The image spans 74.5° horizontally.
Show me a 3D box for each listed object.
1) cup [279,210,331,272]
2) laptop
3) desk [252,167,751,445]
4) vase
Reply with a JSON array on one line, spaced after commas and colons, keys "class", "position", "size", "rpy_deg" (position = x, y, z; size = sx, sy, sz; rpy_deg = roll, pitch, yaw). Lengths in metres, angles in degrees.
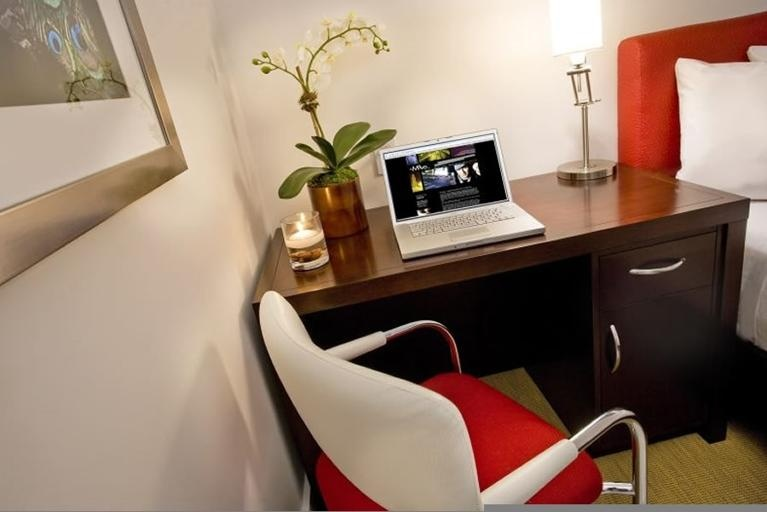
[{"class": "cup", "position": [-0.234, -0.065, 1.564], "size": [0.158, 0.182, 0.158], "rpy_deg": [-13, 20, 5]}, {"class": "laptop", "position": [0.223, -0.220, 1.527], "size": [0.490, 0.296, 0.437], "rpy_deg": [-14, 33, -6]}, {"class": "desk", "position": [0.492, 0.346, 1.894], "size": [1.517, 0.821, 0.755], "rpy_deg": [-15, 27, -11]}, {"class": "vase", "position": [-0.120, -0.180, 1.747], "size": [0.204, 0.199, 0.179], "rpy_deg": [-9, 29, 10]}]
